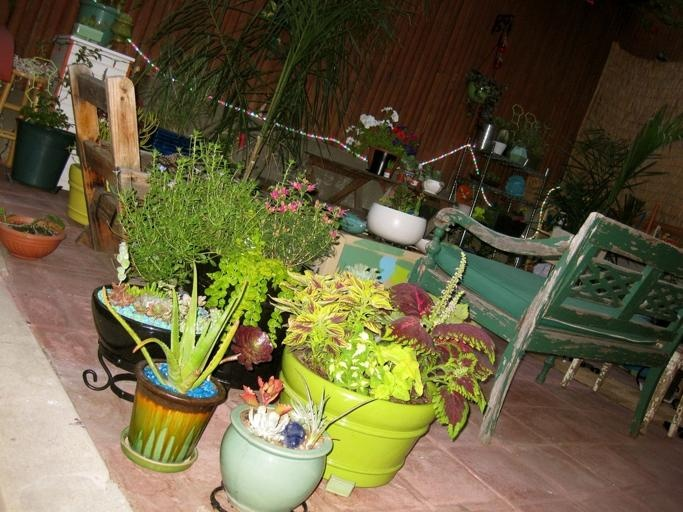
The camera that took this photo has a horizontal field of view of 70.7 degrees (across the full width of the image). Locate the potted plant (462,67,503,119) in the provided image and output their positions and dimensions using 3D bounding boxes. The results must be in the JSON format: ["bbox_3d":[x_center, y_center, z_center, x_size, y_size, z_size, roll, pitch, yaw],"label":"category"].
[{"bbox_3d":[1.992,-2.352,7.109,0.551,0.668,0.314,7,24,-18],"label":"potted plant"}]

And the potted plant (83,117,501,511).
[{"bbox_3d":[-0.200,0.218,1.712,1.422,0.925,0.848,24,13,23],"label":"potted plant"}]
